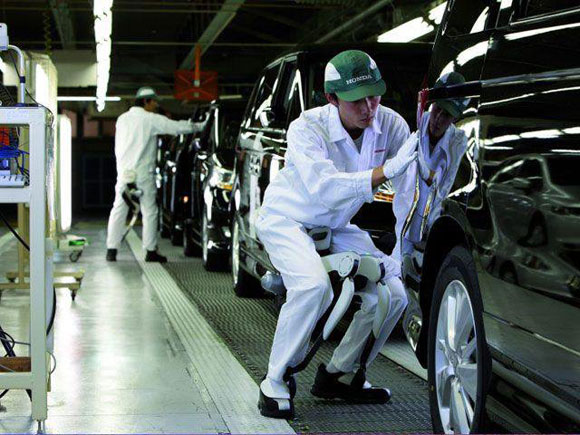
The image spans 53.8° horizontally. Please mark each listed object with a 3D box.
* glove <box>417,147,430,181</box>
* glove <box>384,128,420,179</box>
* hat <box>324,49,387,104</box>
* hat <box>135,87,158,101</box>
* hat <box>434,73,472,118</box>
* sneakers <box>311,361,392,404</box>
[{"bbox_3d":[0.750,-0.263,2.806,0.044,0.131,0.092,-22,24,-14],"label":"glove"},{"bbox_3d":[0.613,-0.288,2.747,0.069,0.232,0.142,23,31,-23],"label":"glove"},{"bbox_3d":[0.410,-0.801,3.174,0.357,0.252,0.483,-16,22,-9],"label":"hat"},{"bbox_3d":[-2.351,-1.940,8.959,0.303,0.161,0.210,-12,16,-41],"label":"hat"},{"bbox_3d":[0.837,-0.558,2.587,0.126,0.104,0.201,31,21,-18],"label":"hat"},{"bbox_3d":[0.445,1.046,3.630,0.555,0.255,0.227,2,3,-6],"label":"sneakers"}]
